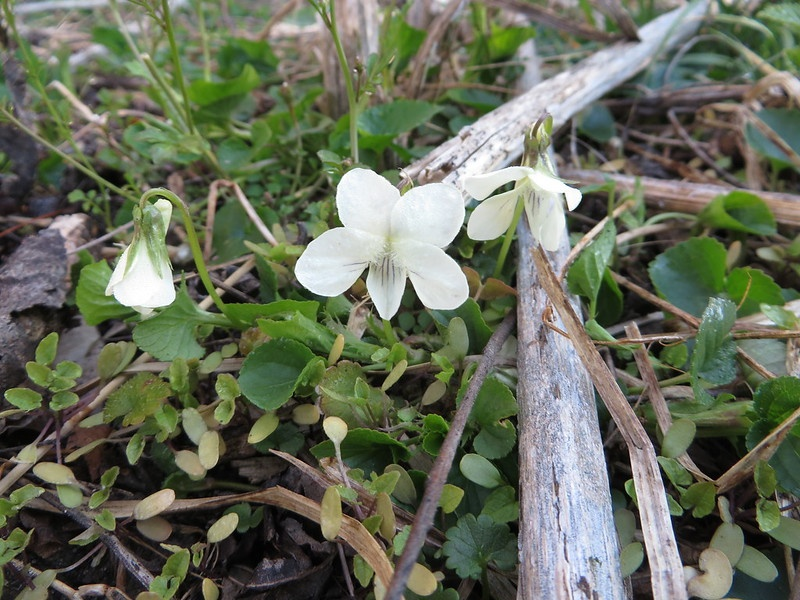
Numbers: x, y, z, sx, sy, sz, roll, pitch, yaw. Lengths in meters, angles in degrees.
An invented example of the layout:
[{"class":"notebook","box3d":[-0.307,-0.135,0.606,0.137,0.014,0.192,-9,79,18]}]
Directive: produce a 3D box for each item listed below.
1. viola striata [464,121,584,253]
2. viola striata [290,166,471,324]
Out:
[{"class":"viola striata","box3d":[0.404,-0.445,2.299,0.414,0.498,0.480,-3,17,-19]},{"class":"viola striata","box3d":[-0.013,-0.171,2.114,0.612,0.156,0.496,43,95,25]}]
